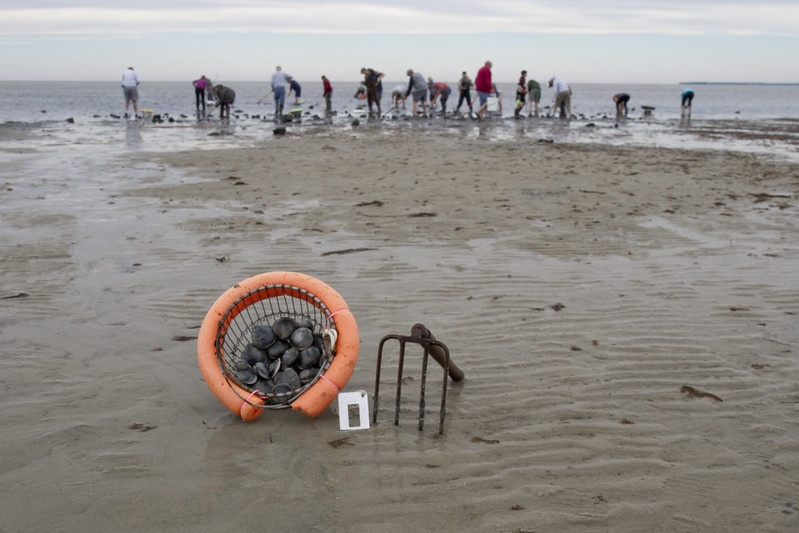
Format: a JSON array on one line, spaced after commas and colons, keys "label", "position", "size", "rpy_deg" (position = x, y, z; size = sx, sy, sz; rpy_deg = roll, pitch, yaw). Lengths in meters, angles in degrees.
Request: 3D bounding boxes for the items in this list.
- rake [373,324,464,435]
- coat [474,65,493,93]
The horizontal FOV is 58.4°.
[{"label": "rake", "position": [0.221, 1.005, 7.399], "size": [0.776, 0.649, 1.257], "rpy_deg": [6, 5, 17]}, {"label": "coat", "position": [3.290, -7.289, 28.051], "size": [0.577, 0.992, 1.265], "rpy_deg": [4, 12, 7]}]
